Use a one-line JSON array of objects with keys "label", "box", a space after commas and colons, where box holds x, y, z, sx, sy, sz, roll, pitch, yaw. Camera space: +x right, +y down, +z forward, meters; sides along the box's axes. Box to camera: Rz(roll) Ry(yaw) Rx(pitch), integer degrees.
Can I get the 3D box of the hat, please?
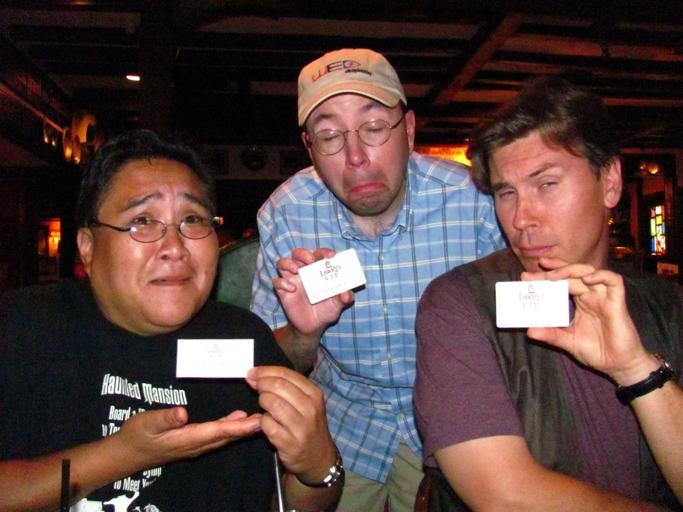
[{"label": "hat", "box": [0.070, -0.931, 2.970, 0.631, 0.443, 0.420, 3, 25, -6]}]
